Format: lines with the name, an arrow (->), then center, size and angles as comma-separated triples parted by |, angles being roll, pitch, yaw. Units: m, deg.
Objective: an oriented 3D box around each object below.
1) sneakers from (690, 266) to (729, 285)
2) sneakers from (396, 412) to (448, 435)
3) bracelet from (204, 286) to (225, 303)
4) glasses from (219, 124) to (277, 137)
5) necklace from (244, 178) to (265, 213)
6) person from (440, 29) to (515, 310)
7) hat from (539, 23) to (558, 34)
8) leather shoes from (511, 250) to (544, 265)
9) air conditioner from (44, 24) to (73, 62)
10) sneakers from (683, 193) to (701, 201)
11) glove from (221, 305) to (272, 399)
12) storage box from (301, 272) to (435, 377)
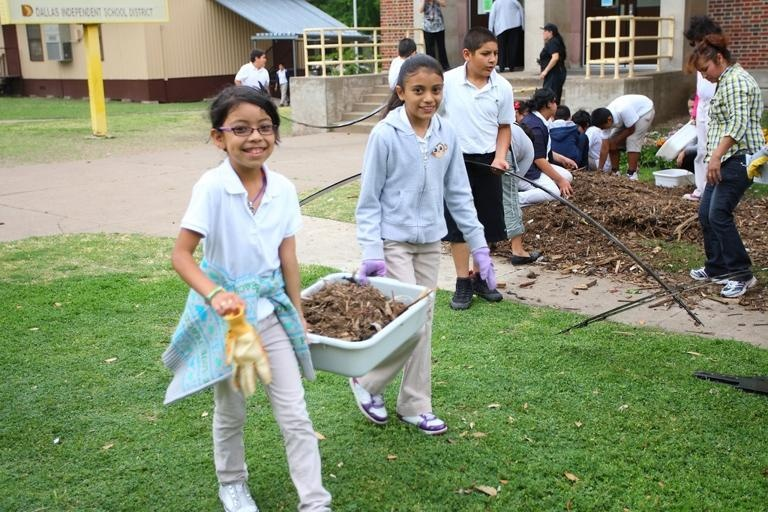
sneakers -> 3.092, 0.193, 5.798 | 0.437, 0.198, 0.164 | 0, 9, 25
sneakers -> 0.256, 1.088, 4.062 | 0.313, 0.124, 0.114 | 2, 9, 32
bracelet -> -0.798, 0.183, 2.895 | 0.085, 0.032, 0.075 | -44, 1, -8
glasses -> -0.694, -0.637, 3.145 | 0.277, 0.054, 0.083 | -3, 14, -13
necklace -> -0.651, -0.317, 3.181 | 0.036, 0.122, 0.094 | 19, -2, -41
person -> 0.849, -0.787, 5.707 | 0.882, 2.452, 0.828 | -2, 8, -12
hat -> 3.279, -4.466, 12.065 | 0.195, 0.181, 0.352 | 6, 15, 26
leather shoes -> 1.614, 0.031, 6.844 | 0.355, 0.105, 0.129 | -9, 19, -26
air conditioner -> -16.617, -11.016, 31.424 | 1.652, 1.779, 1.580 | -12, 23, -28
sneakers -> 4.034, -0.760, 8.020 | 0.190, 0.072, 0.106 | 6, 8, 39
glove -> -0.656, 0.464, 2.952 | 0.192, 0.449, 0.257 | -5, 15, -15
storage box -> -0.010, 0.444, 3.484 | 0.576, 0.215, 0.690 | 14, 25, 31
